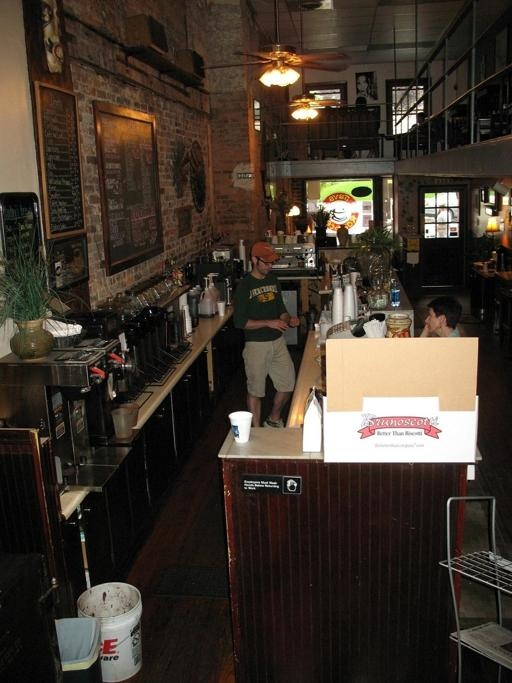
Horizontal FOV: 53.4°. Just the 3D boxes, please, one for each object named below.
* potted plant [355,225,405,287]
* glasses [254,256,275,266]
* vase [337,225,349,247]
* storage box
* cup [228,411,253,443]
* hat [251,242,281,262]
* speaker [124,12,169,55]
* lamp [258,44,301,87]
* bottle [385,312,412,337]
[{"bbox_3d":[1.787,-1.219,7.372,0.545,0.897,0.574,-3,-1,-1],"label":"potted plant"},{"bbox_3d":[0.112,-0.761,4.831,0.137,0.107,0.221,-3,8,-33],"label":"glasses"},{"bbox_3d":[1.644,-1.980,9.619,0.208,0.406,0.770,-1,8,10],"label":"vase"},{"bbox_3d":[0.488,0.192,1.687,0.376,0.387,0.134,0,8,3],"label":"storage box"},{"bbox_3d":[-0.052,0.316,1.964,0.105,0.118,0.113,0,8,0],"label":"cup"},{"bbox_3d":[0.095,-0.838,4.806,0.230,0.145,0.172,15,24,21],"label":"hat"},{"bbox_3d":[-1.031,-2.837,4.721,0.223,0.354,0.494,-1,8,13],"label":"speaker"},{"bbox_3d":[0.172,-2.653,4.958,0.499,0.193,0.486,-11,18,-43],"label":"lamp"},{"bbox_3d":[0.813,-0.087,2.901,0.143,0.164,0.151,0,10,9],"label":"bottle"}]
